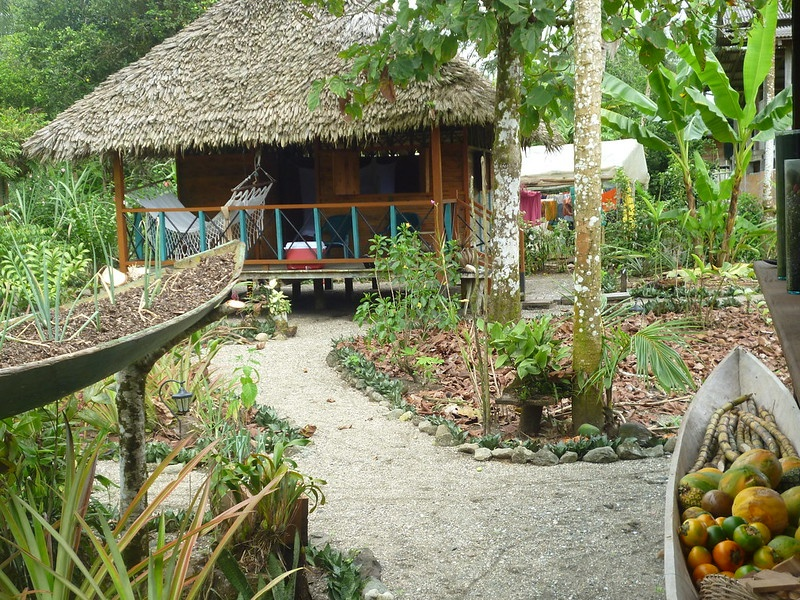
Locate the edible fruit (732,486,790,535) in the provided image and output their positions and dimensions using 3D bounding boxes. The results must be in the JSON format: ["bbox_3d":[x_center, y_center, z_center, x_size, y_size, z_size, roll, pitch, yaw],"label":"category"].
[{"bbox_3d":[1.529,0.874,3.126,0.189,0.213,0.191,1,-6,-7],"label":"edible fruit"}]

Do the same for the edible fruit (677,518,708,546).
[{"bbox_3d":[1.219,0.979,3.109,0.098,0.105,0.103,19,-43,-13],"label":"edible fruit"}]

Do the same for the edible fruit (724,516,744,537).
[{"bbox_3d":[1.385,0.946,3.075,0.073,0.093,0.069,-12,-9,12],"label":"edible fruit"}]

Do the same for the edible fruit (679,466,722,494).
[{"bbox_3d":[1.369,0.806,3.358,0.180,0.098,0.091,-11,2,-25],"label":"edible fruit"}]

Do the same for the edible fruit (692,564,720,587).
[{"bbox_3d":[1.228,1.113,2.946,0.106,0.059,0.159,-3,5,13],"label":"edible fruit"}]

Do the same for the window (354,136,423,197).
[{"bbox_3d":[-0.181,-2.281,12.600,0.924,0.871,0.063,0,7,6],"label":"window"}]

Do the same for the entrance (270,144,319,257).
[{"bbox_3d":[-1.968,-1.893,13.298,0.848,2.089,0.200,-9,45,-22],"label":"entrance"}]

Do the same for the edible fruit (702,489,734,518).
[{"bbox_3d":[1.377,0.886,3.188,0.101,0.115,0.106,1,-3,-3],"label":"edible fruit"}]

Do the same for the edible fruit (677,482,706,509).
[{"bbox_3d":[1.281,0.877,3.261,0.089,0.103,0.104,-7,10,-19],"label":"edible fruit"}]

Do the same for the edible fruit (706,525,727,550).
[{"bbox_3d":[1.309,0.986,3.056,0.082,0.105,0.078,10,-6,43],"label":"edible fruit"}]

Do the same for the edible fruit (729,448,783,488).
[{"bbox_3d":[1.622,0.782,3.368,0.202,0.175,0.158,2,-14,18],"label":"edible fruit"}]

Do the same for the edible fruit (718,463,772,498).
[{"bbox_3d":[1.513,0.801,3.255,0.142,0.192,0.153,5,16,11],"label":"edible fruit"}]
